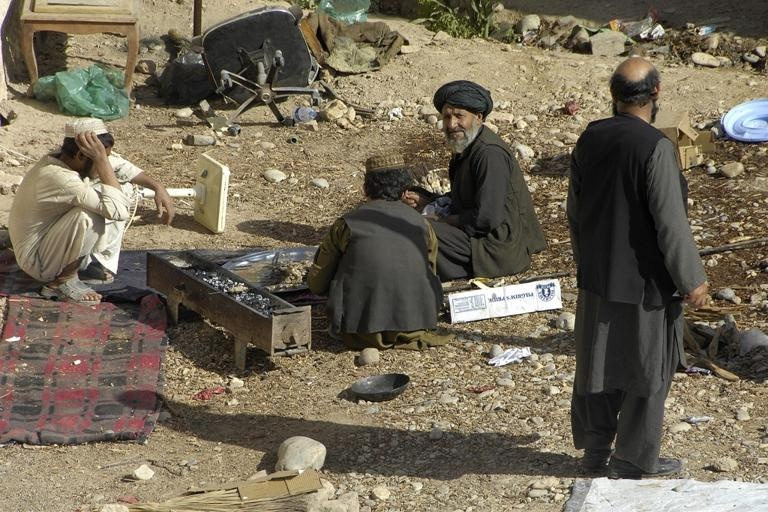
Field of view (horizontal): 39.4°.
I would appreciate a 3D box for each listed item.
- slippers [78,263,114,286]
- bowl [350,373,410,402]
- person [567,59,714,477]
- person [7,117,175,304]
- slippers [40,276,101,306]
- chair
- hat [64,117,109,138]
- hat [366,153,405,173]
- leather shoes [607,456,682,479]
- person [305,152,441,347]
[{"bbox_3d":[-2.594,0.176,9.623,0.421,0.152,0.130,2,17,10],"label":"slippers"},{"bbox_3d":[-0.017,1.033,8.405,0.431,0.170,0.275,-3,15,-25],"label":"bowl"},{"bbox_3d":[1.692,0.102,7.287,0.632,2.818,0.856,-2,17,-23],"label":"person"},{"bbox_3d":[-2.677,-0.403,9.173,0.970,1.535,0.532,0,16,-15],"label":"person"},{"bbox_3d":[-2.667,0.291,9.242,0.490,0.173,0.226,4,18,3],"label":"slippers"},{"bbox_3d":[-1.406,-2.306,13.383,1.622,1.414,1.524,-24,15,-5],"label":"chair"},{"bbox_3d":[-2.506,-1.081,9.094,0.344,0.159,0.321,1,14,-12],"label":"hat"},{"bbox_3d":[0.019,-0.740,8.704,0.308,0.149,0.118,4,14,0],"label":"hat"},{"bbox_3d":[1.772,1.467,7.356,0.484,0.162,0.177,-5,13,1],"label":"leather shoes"},{"bbox_3d":[-0.012,-0.010,8.740,1.161,1.592,0.431,3,15,-5],"label":"person"}]
